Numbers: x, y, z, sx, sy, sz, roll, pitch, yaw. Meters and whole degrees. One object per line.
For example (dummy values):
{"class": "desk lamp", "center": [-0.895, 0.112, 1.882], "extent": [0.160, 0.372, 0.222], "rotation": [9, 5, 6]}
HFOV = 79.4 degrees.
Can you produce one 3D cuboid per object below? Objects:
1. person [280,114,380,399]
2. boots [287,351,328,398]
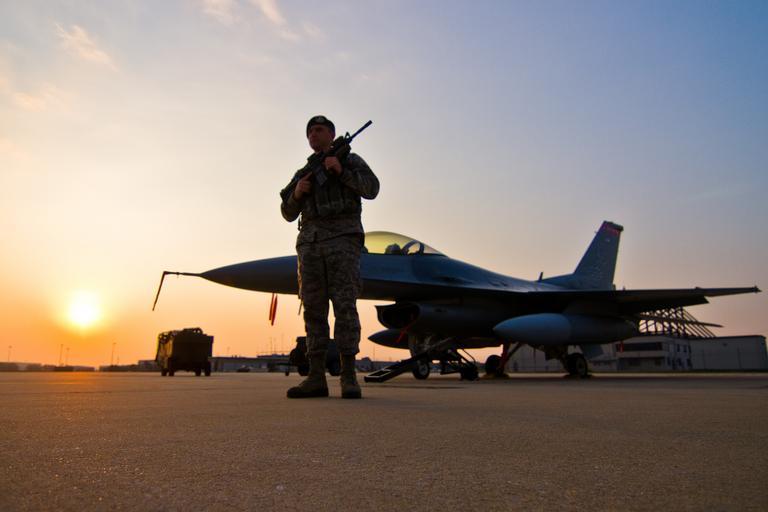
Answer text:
{"class": "person", "center": [-0.508, -0.094, 4.581], "extent": [1.043, 2.882, 0.632], "rotation": [-12, -18, 37]}
{"class": "boots", "center": [-0.709, 1.129, 4.375], "extent": [0.361, 0.400, 0.461], "rotation": [0, -13, -6]}
